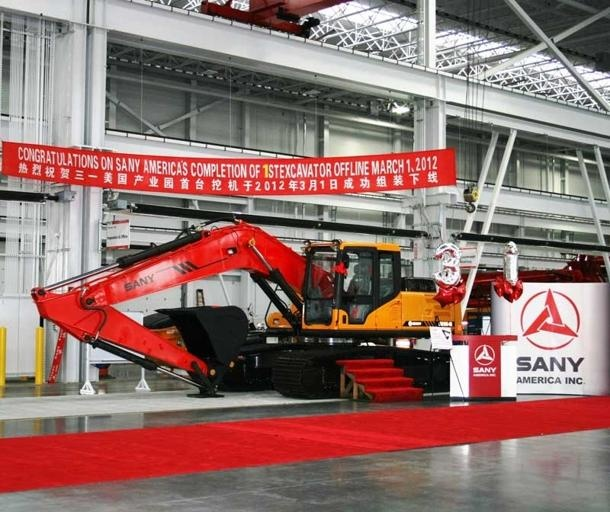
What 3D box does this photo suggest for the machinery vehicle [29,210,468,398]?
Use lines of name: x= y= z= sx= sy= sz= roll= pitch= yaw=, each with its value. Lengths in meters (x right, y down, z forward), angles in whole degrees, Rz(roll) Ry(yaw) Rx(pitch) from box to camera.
machinery vehicle: x=-0.842 y=0.944 z=13.129 sx=7.374 sy=2.100 sz=2.238 roll=-1 pitch=6 yaw=-26
